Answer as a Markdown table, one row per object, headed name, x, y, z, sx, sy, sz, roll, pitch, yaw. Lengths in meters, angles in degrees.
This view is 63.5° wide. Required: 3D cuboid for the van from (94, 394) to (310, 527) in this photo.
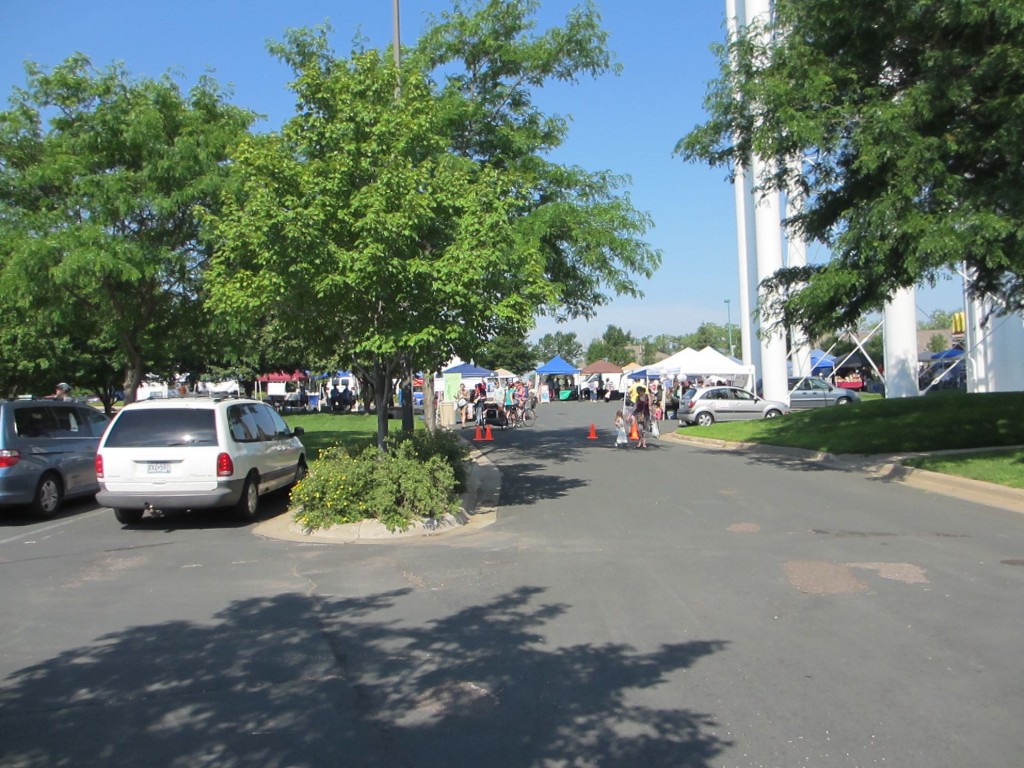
| name | x | y | z | sx | sy | sz | roll | pitch | yaw |
| --- | --- | --- | --- | --- | --- | --- | --- | --- | --- |
| van | -4.951 | 1.130 | 14.300 | 1.713 | 1.399 | 3.523 | 0 | 3 | 8 |
